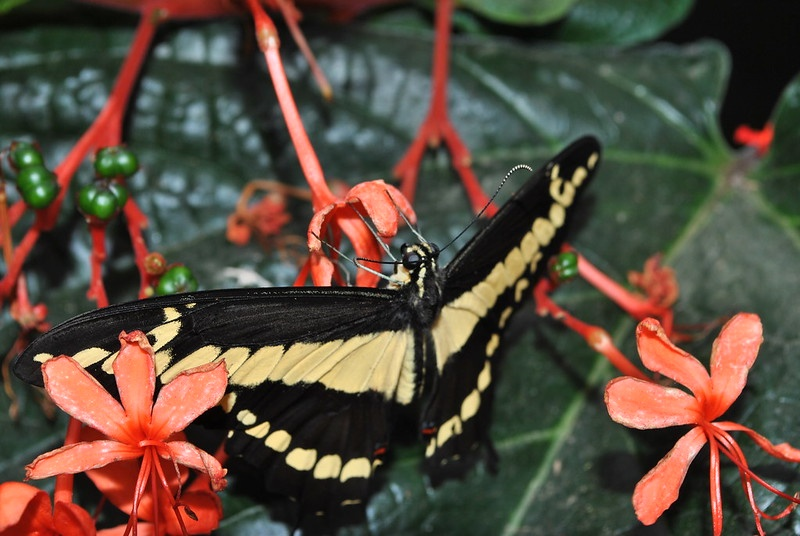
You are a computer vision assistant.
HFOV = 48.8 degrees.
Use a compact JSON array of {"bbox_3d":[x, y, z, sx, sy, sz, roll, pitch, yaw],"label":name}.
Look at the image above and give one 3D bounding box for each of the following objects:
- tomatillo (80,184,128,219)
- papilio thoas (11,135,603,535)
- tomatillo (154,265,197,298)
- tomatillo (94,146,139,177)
[{"bbox_3d":[-0.299,-0.069,0.898,0.036,0.024,0.038,29,60,13],"label":"tomatillo"},{"bbox_3d":[-0.095,0.018,1.037,0.503,0.476,0.427,-15,39,-17],"label":"papilio thoas"},{"bbox_3d":[-0.240,0.021,0.946,0.040,0.037,0.038,-13,51,-27],"label":"tomatillo"},{"bbox_3d":[-0.287,-0.106,0.894,0.033,0.029,0.033,-18,50,-22],"label":"tomatillo"}]
